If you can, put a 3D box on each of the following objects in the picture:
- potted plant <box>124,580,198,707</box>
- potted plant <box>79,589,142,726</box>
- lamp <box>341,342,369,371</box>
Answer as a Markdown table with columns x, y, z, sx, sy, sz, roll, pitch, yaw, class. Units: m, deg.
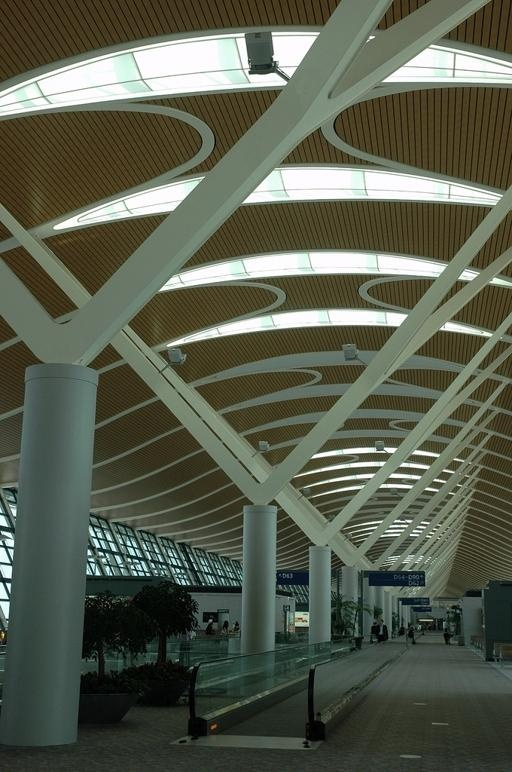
| x | y | z | sx | sy | sz | roll | pitch | yaw | class |
| --- | --- | --- | --- | --- | --- | --- | --- | --- | --- |
| -2.091 | 5.528 | 14.307 | 1.498 | 2.515 | 1.311 | 0 | -8 | -23 | potted plant |
| -2.129 | 3.974 | 9.741 | 0.906 | 1.693 | 1.351 | 6 | -17 | -10 | potted plant |
| 3.262 | -1.076 | 23.168 | 0.545 | 0.525 | 2.316 | -6 | -6 | 12 | lamp |
